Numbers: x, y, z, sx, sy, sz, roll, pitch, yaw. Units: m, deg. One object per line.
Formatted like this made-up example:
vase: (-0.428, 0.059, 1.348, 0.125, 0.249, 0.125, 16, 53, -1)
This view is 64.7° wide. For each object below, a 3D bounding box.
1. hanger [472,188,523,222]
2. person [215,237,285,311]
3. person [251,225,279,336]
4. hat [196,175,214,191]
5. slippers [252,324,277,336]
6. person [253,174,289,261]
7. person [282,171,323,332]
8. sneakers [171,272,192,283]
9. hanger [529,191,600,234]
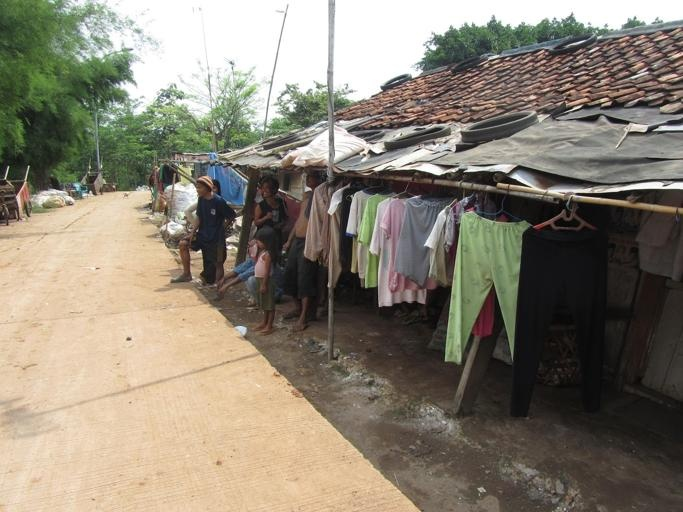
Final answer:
hanger: (1.636, -0.531, 5.747, 0.488, 0.281, 0.639, 6, 11, 13)
person: (-1.583, 0.131, 8.956, 1.134, 1.263, 0.475, -9, 20, -21)
person: (-1.094, 0.362, 7.752, 0.306, 1.520, 0.417, 2, 12, -9)
hat: (-2.430, -1.291, 9.669, 0.273, 0.237, 0.570, 1, 11, -13)
slippers: (-1.128, 1.091, 7.865, 0.263, 0.233, 0.132, 11, -8, -27)
person: (-1.163, -0.416, 9.109, 0.638, 1.697, 0.568, -3, 15, -18)
person: (-0.567, -0.105, 8.024, 0.488, 2.333, 0.849, 3, 12, -3)
sneakers: (-2.975, 0.413, 10.143, 0.416, 0.150, 0.148, -5, 7, -27)
hanger: (2.089, -0.362, 4.945, 0.141, 0.309, 0.646, 22, -6, -34)
